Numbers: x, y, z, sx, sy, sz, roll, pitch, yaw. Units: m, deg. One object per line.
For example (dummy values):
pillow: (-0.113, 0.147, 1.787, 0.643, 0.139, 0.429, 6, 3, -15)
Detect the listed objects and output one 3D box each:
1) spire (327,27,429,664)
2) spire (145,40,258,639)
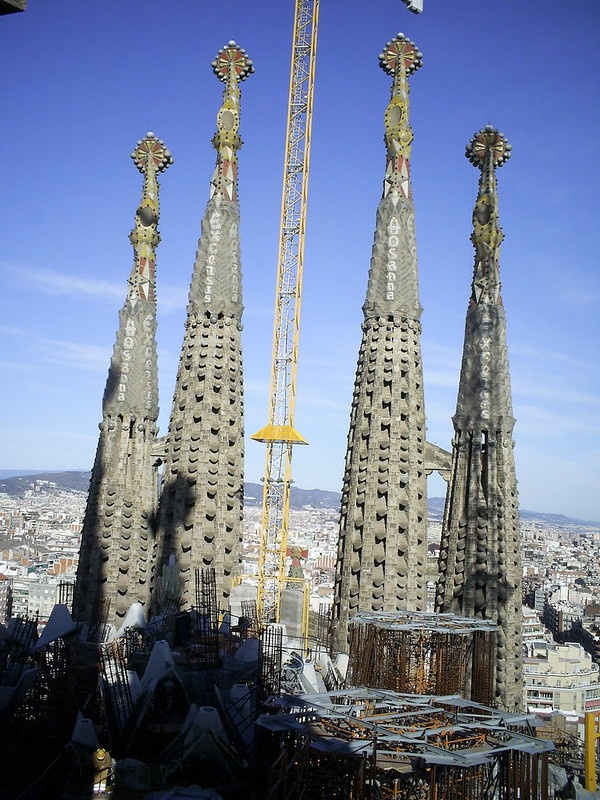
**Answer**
spire: (3.486, -2.750, 35.358, 3.210, 23.951, 1.686, 7, -13, 2)
spire: (-3.232, -3.465, 38.849, 3.619, 24.002, 1.659, 10, -13, -8)
